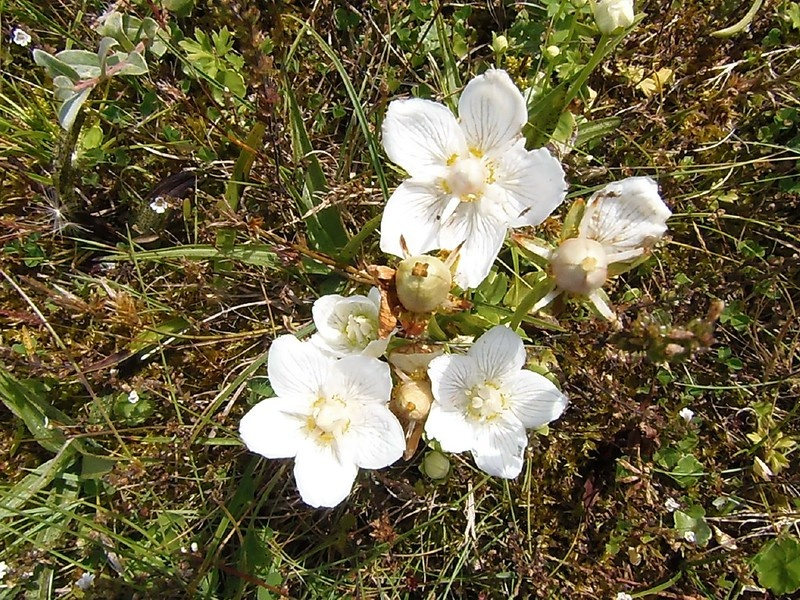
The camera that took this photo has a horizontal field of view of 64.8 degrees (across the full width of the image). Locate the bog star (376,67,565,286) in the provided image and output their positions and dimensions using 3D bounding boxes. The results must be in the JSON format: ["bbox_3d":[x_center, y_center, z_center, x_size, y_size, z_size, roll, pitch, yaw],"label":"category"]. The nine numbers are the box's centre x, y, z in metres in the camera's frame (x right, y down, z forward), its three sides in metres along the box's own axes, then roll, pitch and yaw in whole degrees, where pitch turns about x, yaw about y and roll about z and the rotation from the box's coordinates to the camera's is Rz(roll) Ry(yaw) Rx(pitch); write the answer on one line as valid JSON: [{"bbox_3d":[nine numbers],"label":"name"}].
[{"bbox_3d":[0.293,-0.561,3.071,0.905,0.374,0.907,-14,83,0],"label":"bog star"}]

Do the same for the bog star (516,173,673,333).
[{"bbox_3d":[0.915,-0.275,3.180,0.757,0.318,0.562,-41,99,4],"label":"bog star"}]

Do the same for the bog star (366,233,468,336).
[{"bbox_3d":[0.048,-0.058,3.186,0.516,0.241,0.453,42,89,-3],"label":"bog star"}]

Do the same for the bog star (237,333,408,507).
[{"bbox_3d":[-0.382,0.607,3.131,0.862,0.285,0.855,3,97,5],"label":"bog star"}]

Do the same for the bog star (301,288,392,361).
[{"bbox_3d":[-0.270,0.132,3.234,0.317,0.203,0.407,0,85,21],"label":"bog star"}]
